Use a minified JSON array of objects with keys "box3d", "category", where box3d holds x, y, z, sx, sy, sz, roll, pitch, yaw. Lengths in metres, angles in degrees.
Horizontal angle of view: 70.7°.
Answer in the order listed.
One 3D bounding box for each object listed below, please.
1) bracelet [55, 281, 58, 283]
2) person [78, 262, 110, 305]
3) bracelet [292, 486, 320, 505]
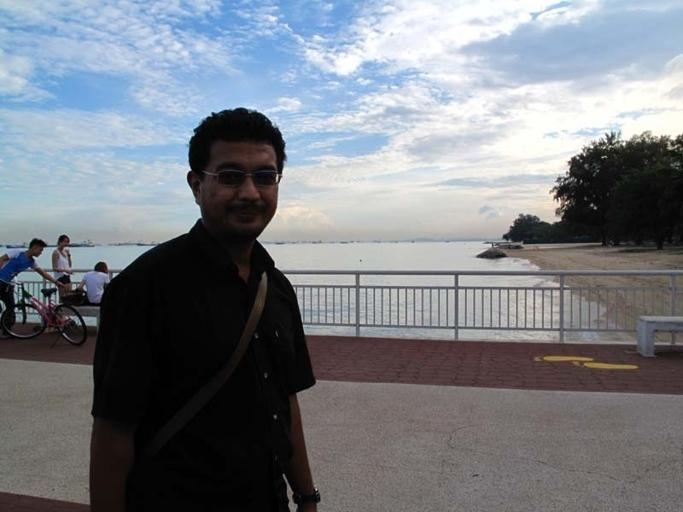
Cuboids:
[{"box3d":[-6.647,0.588,11.215,0.073,0.067,0.072,-4,-5,43],"category":"bracelet"},{"box3d":[-5.676,0.758,11.288,0.728,1.246,0.783,4,15,-10],"category":"person"},{"box3d":[-0.157,1.116,2.253,0.099,0.047,0.072,-9,-16,10],"category":"bracelet"}]
